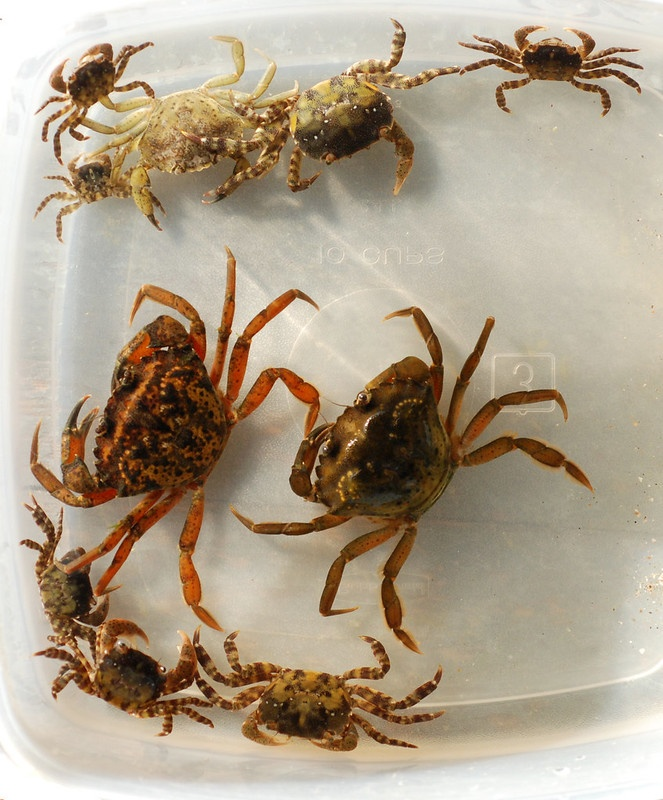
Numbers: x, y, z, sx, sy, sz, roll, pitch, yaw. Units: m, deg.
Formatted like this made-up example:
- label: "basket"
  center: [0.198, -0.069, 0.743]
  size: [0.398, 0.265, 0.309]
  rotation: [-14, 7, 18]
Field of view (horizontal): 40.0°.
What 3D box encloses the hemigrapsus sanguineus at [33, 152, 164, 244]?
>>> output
- label: "hemigrapsus sanguineus"
  center: [-0.774, -0.707, 3.126]
  size: [0.404, 0.228, 0.074]
  rotation: [-8, 73, 2]
